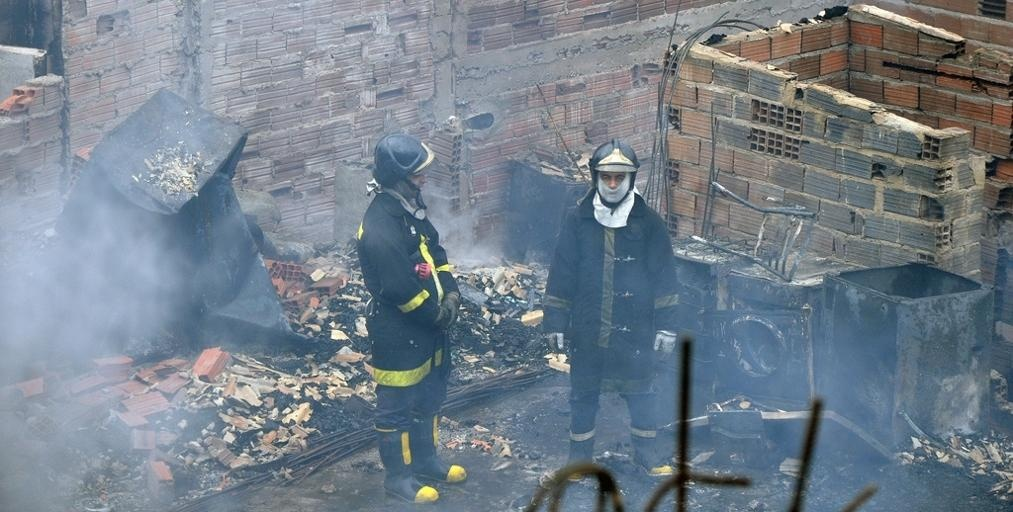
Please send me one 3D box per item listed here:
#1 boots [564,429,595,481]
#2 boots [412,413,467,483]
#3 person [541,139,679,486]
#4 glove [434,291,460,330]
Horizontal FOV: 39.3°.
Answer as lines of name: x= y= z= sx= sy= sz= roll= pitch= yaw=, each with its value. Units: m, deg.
boots: x=0.831 y=2.391 z=16.981 sx=0.354 sy=0.618 sz=0.680 roll=7 pitch=10 yaw=4
boots: x=-0.822 y=2.327 z=16.973 sx=0.820 sy=0.703 sz=0.367 roll=5 pitch=11 yaw=39
person: x=1.228 y=0.626 z=16.784 sx=1.513 sy=3.946 sz=0.408 roll=0 pitch=8 yaw=3
glove: x=-0.712 y=0.647 z=16.686 sx=0.151 sy=0.388 sz=0.314 roll=22 pitch=6 yaw=27
